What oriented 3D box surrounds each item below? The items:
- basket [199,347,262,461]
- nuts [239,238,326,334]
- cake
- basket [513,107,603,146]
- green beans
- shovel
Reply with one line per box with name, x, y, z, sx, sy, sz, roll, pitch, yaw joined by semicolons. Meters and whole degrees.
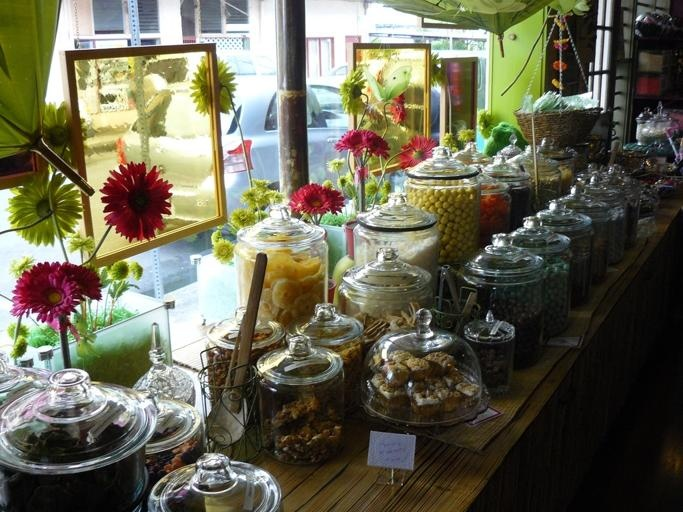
basket;-0.246;0.351;1.211;0.139;0.233;0.120;14;21;27
nuts;-0.137;0.070;1.398;0.179;0.228;0.166;18;20;37
cake;0.200;0.238;1.250;0.246;0.134;0.222;5;17;16
basket;1.070;-0.647;2.646;0.348;0.237;0.561;14;23;33
green beans;0.341;-0.132;1.806;0.163;0.270;0.216;15;27;34
shovel;-0.220;0.214;1.193;0.109;0.455;0.081;7;0;10
